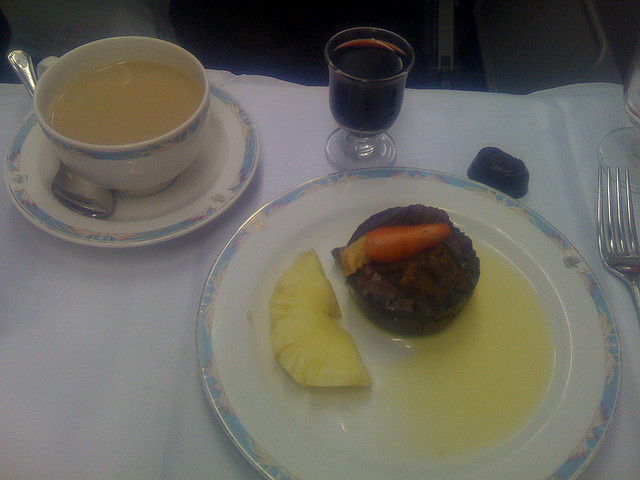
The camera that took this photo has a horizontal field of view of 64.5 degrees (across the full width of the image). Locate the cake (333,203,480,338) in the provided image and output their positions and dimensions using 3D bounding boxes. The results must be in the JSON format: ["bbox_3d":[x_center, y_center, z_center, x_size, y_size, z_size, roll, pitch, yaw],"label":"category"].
[{"bbox_3d":[0.143,0.043,0.810,0.211,0.072,0.222,17,53,22],"label":"cake"}]

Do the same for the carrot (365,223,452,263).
[{"bbox_3d":[0.133,0.006,0.774,0.128,0.033,0.051,-1,67,-2],"label":"carrot"}]

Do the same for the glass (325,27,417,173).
[{"bbox_3d":[0.077,-0.249,1.013,0.200,0.300,0.155,-16,53,-11],"label":"glass"}]

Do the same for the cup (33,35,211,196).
[{"bbox_3d":[-0.330,-0.196,0.843,0.204,0.116,0.174,26,55,21],"label":"cup"}]

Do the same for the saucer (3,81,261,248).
[{"bbox_3d":[-0.269,-0.101,0.864,0.329,0.045,0.339,1,52,-1],"label":"saucer"}]
